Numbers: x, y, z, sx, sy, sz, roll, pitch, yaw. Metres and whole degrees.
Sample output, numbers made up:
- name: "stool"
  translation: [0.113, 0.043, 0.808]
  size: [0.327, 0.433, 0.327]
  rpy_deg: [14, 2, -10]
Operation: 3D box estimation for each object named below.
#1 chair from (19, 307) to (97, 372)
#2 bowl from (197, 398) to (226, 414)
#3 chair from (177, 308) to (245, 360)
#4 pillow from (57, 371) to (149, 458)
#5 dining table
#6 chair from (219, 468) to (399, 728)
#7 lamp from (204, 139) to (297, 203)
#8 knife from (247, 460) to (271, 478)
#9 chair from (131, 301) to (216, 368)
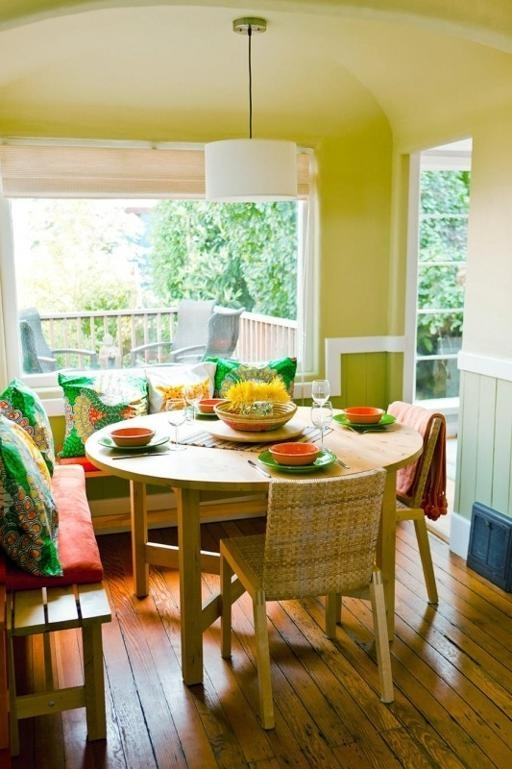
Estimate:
- name: "chair"
  translation: [-1.096, -0.241, 3.220]
  size: [0.342, 0.452, 0.273]
  rpy_deg: [-1, 10, -9]
- name: "bowl"
  translation: [-0.202, 0.093, 2.507]
  size: [0.072, 0.027, 0.072]
  rpy_deg: [1, 10, 0]
- name: "chair"
  translation: [-0.226, -0.322, 3.530]
  size: [0.357, 0.474, 0.284]
  rpy_deg: [4, 8, 18]
- name: "pillow"
  translation: [-0.713, 0.136, 2.631]
  size: [0.411, 0.381, 0.159]
  rpy_deg: [-2, -15, -26]
- name: "dining table"
  translation: [-0.036, 0.398, 2.004]
  size: [0.945, 0.576, 0.943]
  rpy_deg: [-3, 9, -14]
- name: "chair"
  translation: [0.134, 0.567, 1.692]
  size: [0.501, 0.634, 0.531]
  rpy_deg: [0, 2, 0]
- name: "lamp"
  translation: [0.015, -0.778, 2.206]
  size: [0.278, 0.147, 0.278]
  rpy_deg: [11, 18, 38]
- name: "knife"
  translation: [0.014, 0.253, 1.712]
  size: [0.022, 0.011, 0.157]
  rpy_deg: [-6, 7, -15]
- name: "chair"
  translation: [-0.429, -0.327, 3.424]
  size: [0.343, 0.580, 0.428]
  rpy_deg: [11, 13, 39]
